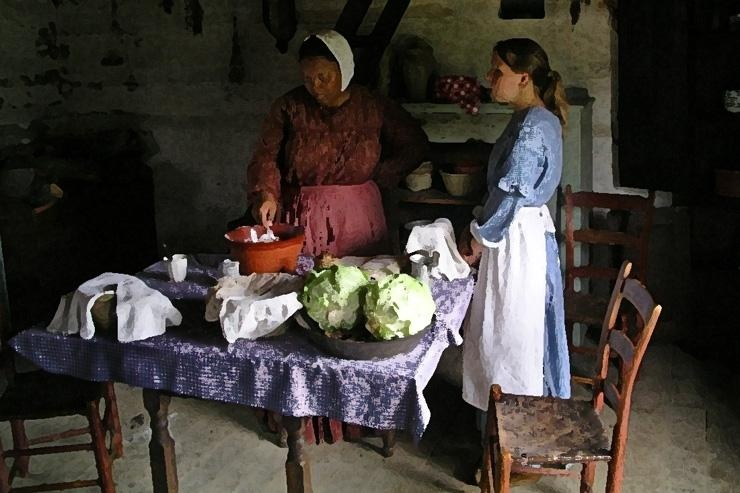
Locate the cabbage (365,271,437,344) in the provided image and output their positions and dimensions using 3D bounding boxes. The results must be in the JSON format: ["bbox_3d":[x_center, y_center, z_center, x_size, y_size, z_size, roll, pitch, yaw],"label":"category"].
[{"bbox_3d":[0.128,0.266,3.047,0.255,0.296,0.337,12,12,34],"label":"cabbage"}]

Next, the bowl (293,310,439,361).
[{"bbox_3d":[-0.070,0.376,3.311,0.618,0.156,0.707,13,15,42],"label":"bowl"}]

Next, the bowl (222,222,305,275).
[{"bbox_3d":[-0.593,-0.035,3.787,0.453,0.301,0.435,3,14,-1],"label":"bowl"}]

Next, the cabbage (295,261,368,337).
[{"bbox_3d":[-0.165,0.278,3.196,0.306,0.304,0.277,-1,14,1],"label":"cabbage"}]
